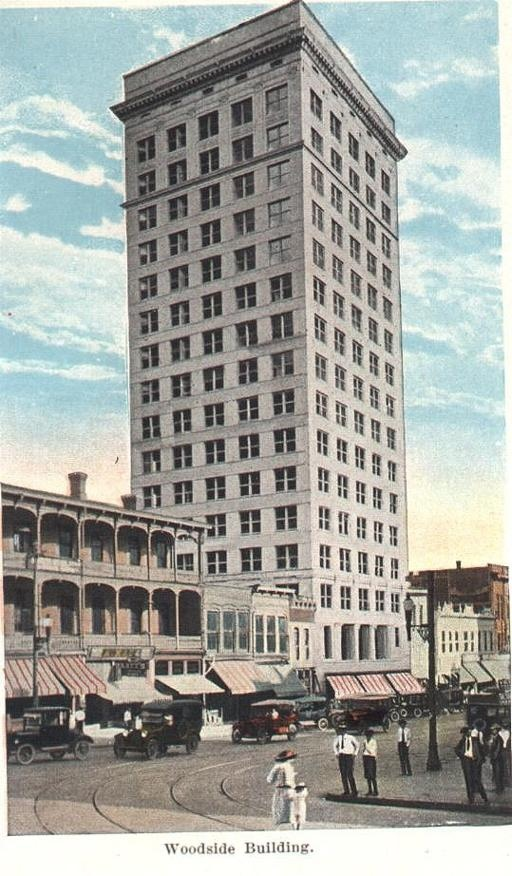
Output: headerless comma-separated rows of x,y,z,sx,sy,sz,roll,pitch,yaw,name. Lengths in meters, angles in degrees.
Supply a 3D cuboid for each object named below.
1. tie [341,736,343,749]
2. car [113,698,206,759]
2.480,8.856,48.851,0.076,0.242,0.074,0,-5,4,tie
-3.052,9.028,52.380,2.918,1.728,0.830,5,-7,-39,car
